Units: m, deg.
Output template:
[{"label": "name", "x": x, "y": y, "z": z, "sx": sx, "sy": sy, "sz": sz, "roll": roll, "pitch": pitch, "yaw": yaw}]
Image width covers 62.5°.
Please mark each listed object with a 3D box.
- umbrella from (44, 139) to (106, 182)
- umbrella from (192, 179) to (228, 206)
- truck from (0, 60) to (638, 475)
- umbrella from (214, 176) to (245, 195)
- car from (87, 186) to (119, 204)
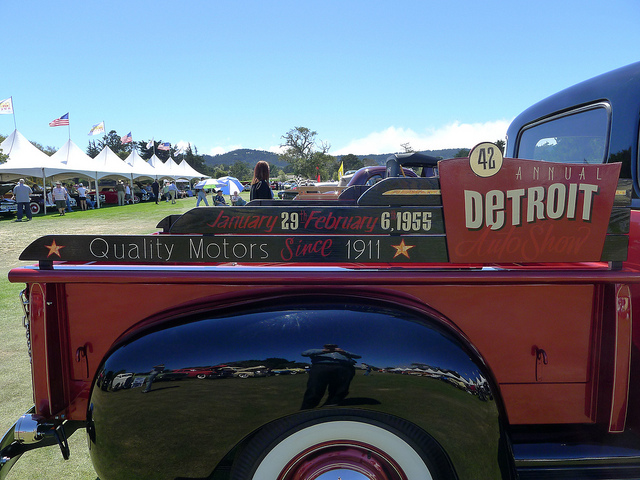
[{"label": "umbrella", "x": -11.426, "y": -3.789, "z": 24.113, "sx": 2.996, "sy": 1.365, "sz": 3.072, "roll": 10, "pitch": 18, "yaw": 0}, {"label": "umbrella", "x": -3.416, "y": -1.550, "z": 16.189, "sx": 0.875, "sy": 0.879, "sz": 0.854, "roll": 1, "pitch": -5, "yaw": -39}, {"label": "truck", "x": 0.034, "y": 0.162, "z": 2.859, "sx": 2.782, "sy": 1.334, "sz": 1.755, "roll": 0, "pitch": 2, "yaw": -5}, {"label": "umbrella", "x": -2.646, "y": -1.567, "z": 15.381, "sx": 0.713, "sy": 0.357, "sz": 0.742, "roll": 3, "pitch": 19, "yaw": 11}, {"label": "car", "x": -11.826, "y": -2.470, "z": 29.221, "sx": 0.870, "sy": 0.663, "sz": 1.585, "roll": 0, "pitch": 8, "yaw": 5}]
